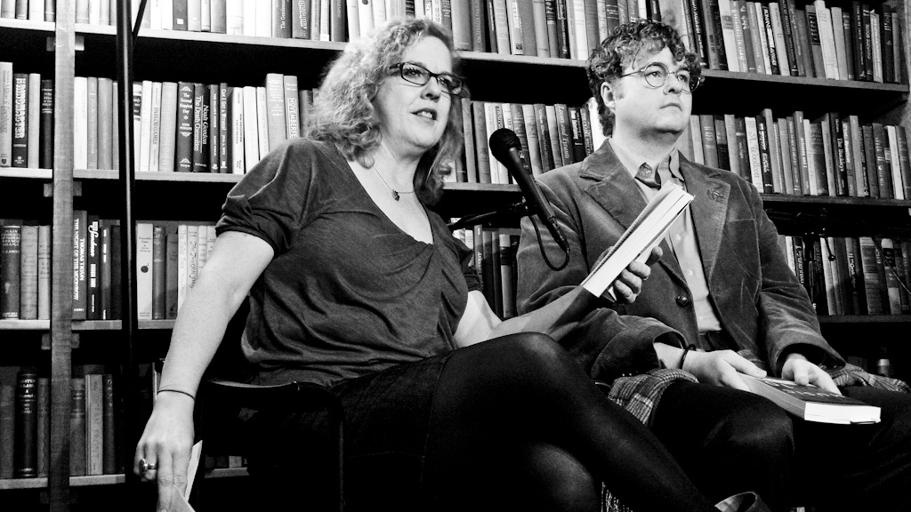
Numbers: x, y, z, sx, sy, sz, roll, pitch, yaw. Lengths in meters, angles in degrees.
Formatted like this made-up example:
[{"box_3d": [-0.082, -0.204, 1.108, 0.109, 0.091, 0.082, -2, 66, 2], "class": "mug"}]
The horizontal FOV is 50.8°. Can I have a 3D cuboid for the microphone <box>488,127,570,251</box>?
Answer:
[{"box_3d": [0.249, -0.225, 3.283, 0.296, 0.367, 0.212, 2, 0, 27], "class": "microphone"}]

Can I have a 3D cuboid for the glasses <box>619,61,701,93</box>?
[{"box_3d": [0.767, -0.667, 3.568, 0.163, 0.047, 0.161, 3, -8, -25], "class": "glasses"}]

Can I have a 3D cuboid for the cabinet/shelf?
[{"box_3d": [-0.154, -0.013, 3.276, 1.804, 0.446, 1.845, 12, -3, -1], "class": "cabinet/shelf"}]
